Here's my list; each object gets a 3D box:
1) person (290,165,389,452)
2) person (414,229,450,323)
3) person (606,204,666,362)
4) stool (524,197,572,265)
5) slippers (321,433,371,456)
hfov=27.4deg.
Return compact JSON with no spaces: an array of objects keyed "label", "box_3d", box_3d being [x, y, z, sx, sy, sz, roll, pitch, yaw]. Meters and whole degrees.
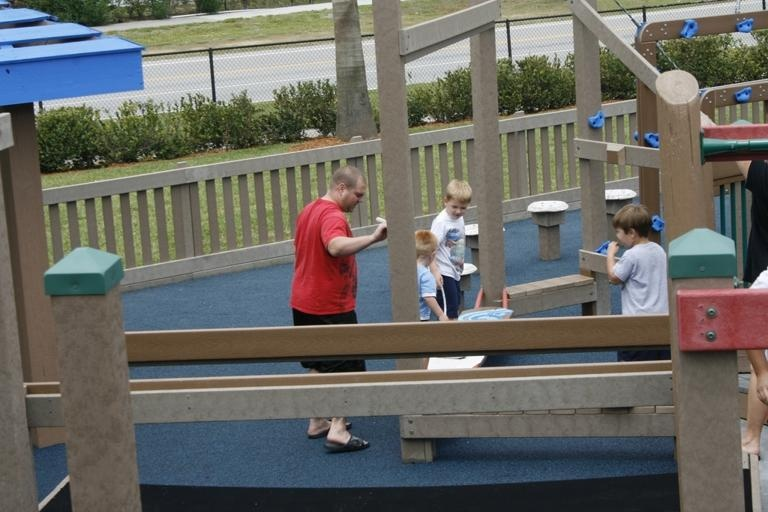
[{"label":"person","box_3d":[-0.404,0.500,14.036,0.737,2.524,0.866,-4,9,-16]},{"label":"person","box_3d":[0.446,0.223,14.772,0.263,0.887,0.736,-2,9,2]},{"label":"person","box_3d":[2.295,0.265,14.199,0.533,1.405,1.933,-1,9,8]},{"label":"stool","box_3d":[1.866,-0.280,17.762,0.447,0.609,0.517,-1,12,6]},{"label":"slippers","box_3d":[-0.332,1.710,14.168,0.333,0.113,0.169,-3,11,-7]}]
